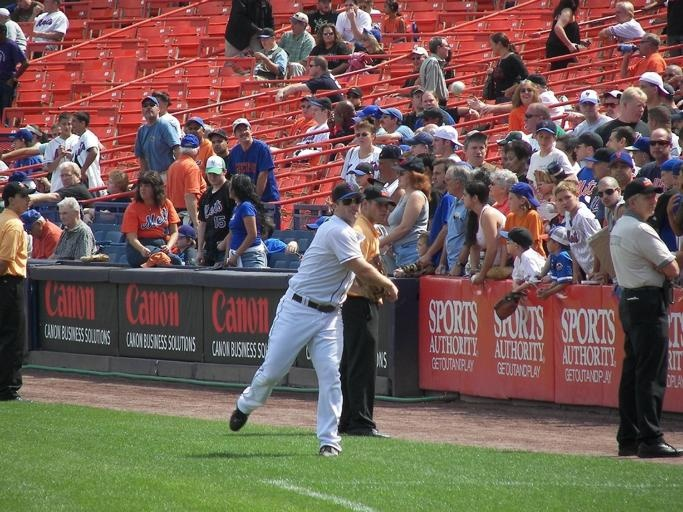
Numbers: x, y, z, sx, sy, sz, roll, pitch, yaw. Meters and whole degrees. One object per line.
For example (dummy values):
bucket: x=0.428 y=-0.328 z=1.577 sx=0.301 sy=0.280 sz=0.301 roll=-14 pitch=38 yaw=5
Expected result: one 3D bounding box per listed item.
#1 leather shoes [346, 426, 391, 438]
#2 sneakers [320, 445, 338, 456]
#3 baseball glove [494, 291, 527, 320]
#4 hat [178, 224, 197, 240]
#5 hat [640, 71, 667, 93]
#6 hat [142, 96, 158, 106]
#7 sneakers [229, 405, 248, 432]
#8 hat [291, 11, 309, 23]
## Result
leather shoes: x=0.298 y=2.135 z=17.981 sx=0.524 sy=0.199 sz=0.181 roll=5 pitch=-6 yaw=6
sneakers: x=-0.168 y=2.261 z=16.852 sx=0.187 sy=0.093 sz=0.110 roll=2 pitch=15 yaw=-4
baseball glove: x=2.206 y=0.653 z=19.443 sx=0.453 sy=0.280 sz=0.231 roll=-37 pitch=-11 yaw=13
hat: x=-2.452 y=-0.397 z=22.865 sx=0.267 sy=0.149 sz=0.178 roll=28 pitch=23 yaw=3
hat: x=4.587 y=-2.623 z=21.542 sx=0.361 sy=0.203 sz=0.252 roll=23 pitch=3 yaw=-15
hat: x=-3.245 y=-2.605 z=24.232 sx=0.161 sy=0.124 sz=0.239 roll=1 pitch=-30 yaw=3
sneakers: x=-1.264 y=1.929 z=17.395 sx=0.142 sy=0.182 sz=0.404 roll=8 pitch=24 yaw=-1
hat: x=-0.892 y=-4.815 z=29.157 sx=0.327 sy=0.235 sz=0.363 roll=2 pitch=-4 yaw=-8
